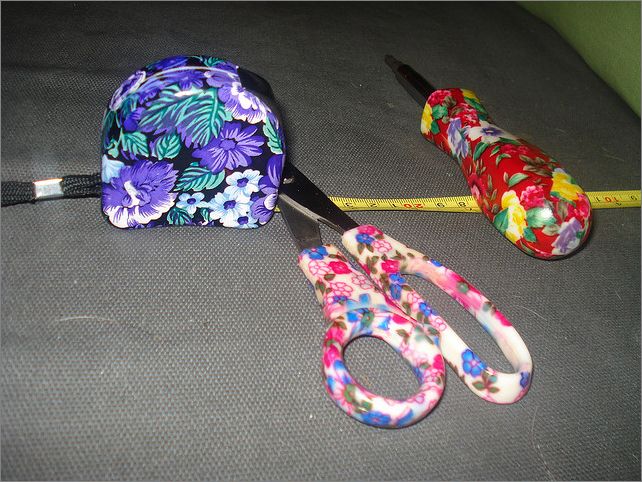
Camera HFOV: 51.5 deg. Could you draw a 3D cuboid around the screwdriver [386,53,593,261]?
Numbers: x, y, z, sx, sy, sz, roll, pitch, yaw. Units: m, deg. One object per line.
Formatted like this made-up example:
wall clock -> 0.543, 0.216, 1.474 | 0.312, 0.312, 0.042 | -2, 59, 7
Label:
screwdriver -> 0.204, -0.139, 0.915 | 0.105, 0.108, 0.446 | -5, 50, -39
